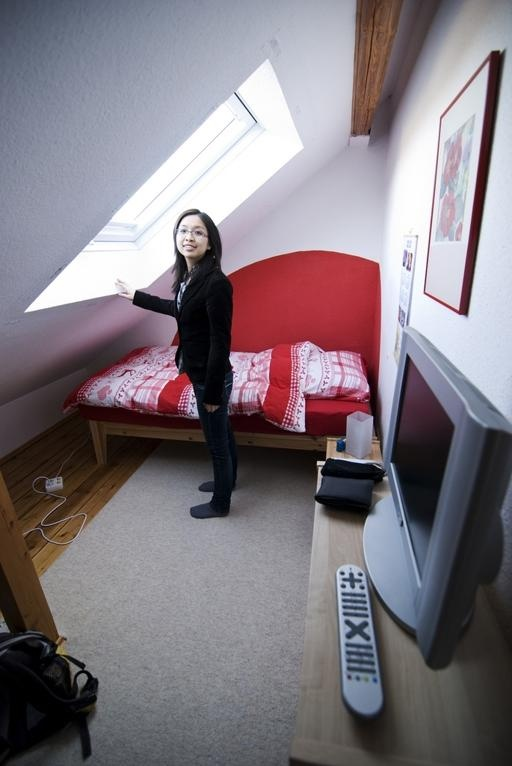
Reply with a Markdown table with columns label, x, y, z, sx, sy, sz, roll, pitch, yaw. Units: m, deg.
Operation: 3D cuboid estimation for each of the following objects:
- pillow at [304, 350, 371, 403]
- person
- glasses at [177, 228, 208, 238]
| label | x | y | z | sx | sy | sz | roll | pitch | yaw |
| --- | --- | --- | --- | --- | --- | --- | --- | --- | --- |
| pillow | 0.437 | -0.045 | 2.622 | 0.284 | 0.092 | 0.337 | 3 | 42 | 16 |
| person | -0.221 | -0.021 | 2.086 | 0.235 | 1.419 | 0.436 | -12 | 21 | -27 |
| glasses | -0.260 | -0.614 | 1.915 | 0.122 | 0.061 | 0.055 | -4 | 21 | -4 |
